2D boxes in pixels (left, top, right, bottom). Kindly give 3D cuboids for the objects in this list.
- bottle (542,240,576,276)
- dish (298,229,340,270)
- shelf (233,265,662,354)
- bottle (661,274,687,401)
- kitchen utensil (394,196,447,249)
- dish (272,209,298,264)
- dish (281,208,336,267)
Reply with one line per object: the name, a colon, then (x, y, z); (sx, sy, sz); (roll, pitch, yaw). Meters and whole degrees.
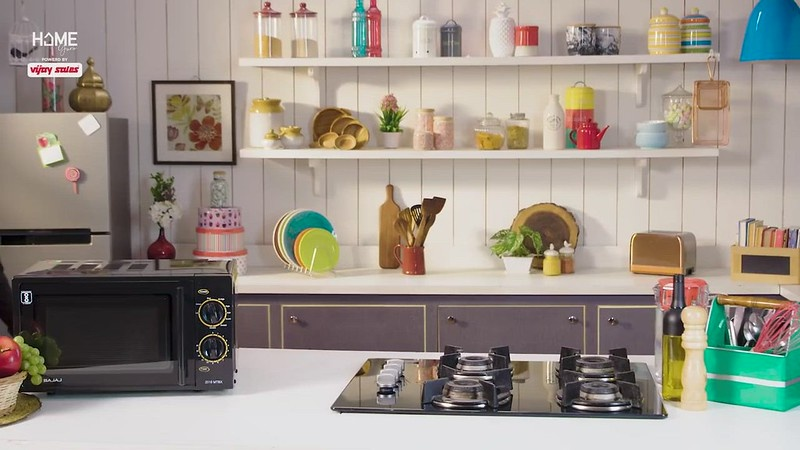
bottle: (1.080, 0.227, 4.785); (0.231, 0.192, 0.092); (-1, 8, -12)
dish: (-0.558, 0.167, 4.706); (0.276, 0.261, 0.047); (0, 5, -24)
shelf: (0.264, 0.589, 4.468); (2.632, 0.436, 0.126); (0, 8, 3)
bottle: (1.125, 0.457, 2.897); (0.089, 0.516, 0.133); (2, 8, 21)
kitchen utensil: (0.133, -0.020, 4.805); (0.342, 0.344, 0.215); (1, 8, 13)
dish: (-0.808, 0.097, 4.787); (0.075, 0.310, 0.319); (3, -7, 19)
dish: (-0.604, 0.082, 4.662); (0.388, 0.370, 0.077); (11, -9, -38)
